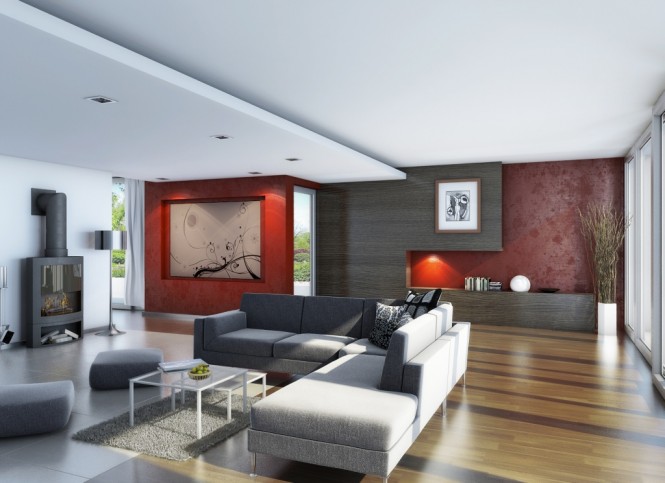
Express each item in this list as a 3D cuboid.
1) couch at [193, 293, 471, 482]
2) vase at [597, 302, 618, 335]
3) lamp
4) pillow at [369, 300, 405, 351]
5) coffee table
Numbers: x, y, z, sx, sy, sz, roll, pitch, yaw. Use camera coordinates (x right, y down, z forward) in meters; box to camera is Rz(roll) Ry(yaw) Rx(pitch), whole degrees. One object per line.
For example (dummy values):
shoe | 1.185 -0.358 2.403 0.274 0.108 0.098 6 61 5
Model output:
couch | 0.276 1.194 3.893 1.790 0.593 1.800 0 -5 28
vase | 4.655 1.274 7.521 0.281 0.535 0.335 -3 4 -40
lamp | -4.228 0.670 8.349 0.430 1.815 2.115 -2 4 -28
pillow | 0.586 0.871 4.620 0.430 0.484 0.192 -2 -23 40
coffee table | -1.237 1.356 4.308 0.720 0.387 0.815 2 3 28
